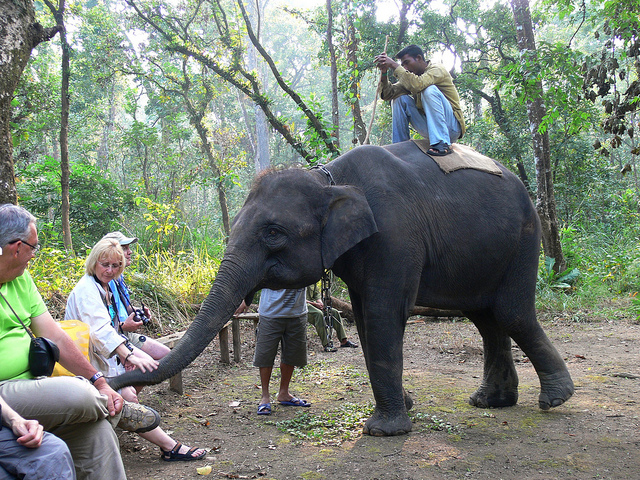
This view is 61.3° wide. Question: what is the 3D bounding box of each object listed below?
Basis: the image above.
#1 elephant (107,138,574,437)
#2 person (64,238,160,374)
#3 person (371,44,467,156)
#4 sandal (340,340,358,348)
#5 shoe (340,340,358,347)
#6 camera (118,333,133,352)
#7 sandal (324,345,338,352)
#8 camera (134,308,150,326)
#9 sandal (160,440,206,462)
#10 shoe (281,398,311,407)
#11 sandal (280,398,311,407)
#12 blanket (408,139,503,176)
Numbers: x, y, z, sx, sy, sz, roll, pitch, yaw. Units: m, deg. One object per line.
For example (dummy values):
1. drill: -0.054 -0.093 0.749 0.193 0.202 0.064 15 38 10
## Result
1. elephant: 0.610 0.501 5.544 4.231 2.758 1.593 -2 1 -15
2. person: -1.873 0.620 5.176 0.935 1.189 0.886 5 1 30
3. person: 1.072 -1.478 5.872 1.042 1.187 0.743 3 -4 -11
4. sandal: 0.482 1.769 9.137 0.270 0.097 0.097 0 -1 -4
5. shoe: 0.496 1.761 9.162 0.288 0.100 0.102 0 -1 -1
6. camera: -1.788 0.942 4.944 0.068 0.203 0.100 -27 -11 27
7. sandal: 0.178 1.786 8.874 0.215 0.140 0.077 -8 -6 41
8. camera: -1.769 0.754 5.341 0.049 0.143 0.142 -36 -19 20
9. sandal: -1.238 1.882 4.870 0.374 0.142 0.164 -1 -4 -6
10. shoe: -0.262 1.815 6.094 0.302 0.078 0.115 -1 -8 5
11. sandal: -0.274 1.822 6.107 0.312 0.082 0.120 -2 -6 8
12. blanket: 1.382 -0.826 5.499 0.803 0.409 0.602 2 4 44
